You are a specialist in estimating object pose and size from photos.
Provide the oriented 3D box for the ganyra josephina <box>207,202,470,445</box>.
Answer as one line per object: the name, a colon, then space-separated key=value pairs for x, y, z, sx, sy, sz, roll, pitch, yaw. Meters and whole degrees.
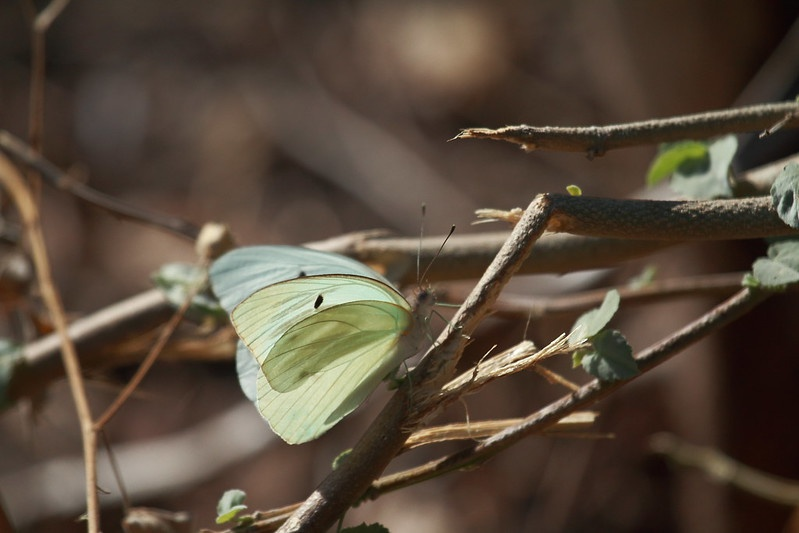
ganyra josephina: x=-0.108 y=0.108 z=1.837 sx=0.419 sy=0.458 sz=0.303 roll=-15 pitch=-80 yaw=5
